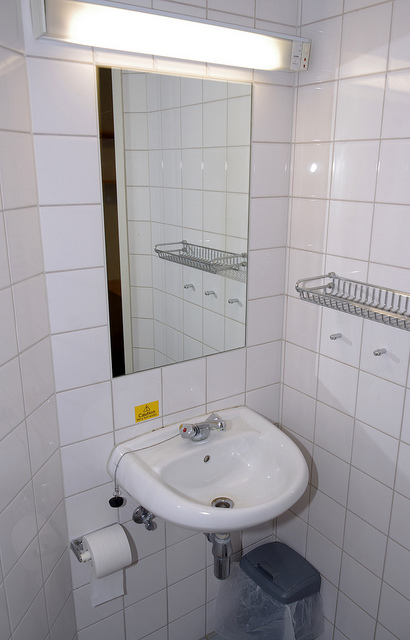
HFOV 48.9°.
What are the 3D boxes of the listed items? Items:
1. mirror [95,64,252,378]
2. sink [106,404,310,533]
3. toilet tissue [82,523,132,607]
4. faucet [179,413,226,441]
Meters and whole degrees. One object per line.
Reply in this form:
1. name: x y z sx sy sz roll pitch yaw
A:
1. mirror: -0.092 -0.302 1.339 0.447 0.946 0.009 7 22 9
2. sink: 0.043 0.454 1.339 0.458 0.230 0.407 -16 28 -33
3. toilet tissue: -0.301 0.771 1.411 0.162 0.264 0.131 -6 17 -24
4. faucet: -0.006 0.319 1.436 0.061 0.065 0.146 7 11 39
